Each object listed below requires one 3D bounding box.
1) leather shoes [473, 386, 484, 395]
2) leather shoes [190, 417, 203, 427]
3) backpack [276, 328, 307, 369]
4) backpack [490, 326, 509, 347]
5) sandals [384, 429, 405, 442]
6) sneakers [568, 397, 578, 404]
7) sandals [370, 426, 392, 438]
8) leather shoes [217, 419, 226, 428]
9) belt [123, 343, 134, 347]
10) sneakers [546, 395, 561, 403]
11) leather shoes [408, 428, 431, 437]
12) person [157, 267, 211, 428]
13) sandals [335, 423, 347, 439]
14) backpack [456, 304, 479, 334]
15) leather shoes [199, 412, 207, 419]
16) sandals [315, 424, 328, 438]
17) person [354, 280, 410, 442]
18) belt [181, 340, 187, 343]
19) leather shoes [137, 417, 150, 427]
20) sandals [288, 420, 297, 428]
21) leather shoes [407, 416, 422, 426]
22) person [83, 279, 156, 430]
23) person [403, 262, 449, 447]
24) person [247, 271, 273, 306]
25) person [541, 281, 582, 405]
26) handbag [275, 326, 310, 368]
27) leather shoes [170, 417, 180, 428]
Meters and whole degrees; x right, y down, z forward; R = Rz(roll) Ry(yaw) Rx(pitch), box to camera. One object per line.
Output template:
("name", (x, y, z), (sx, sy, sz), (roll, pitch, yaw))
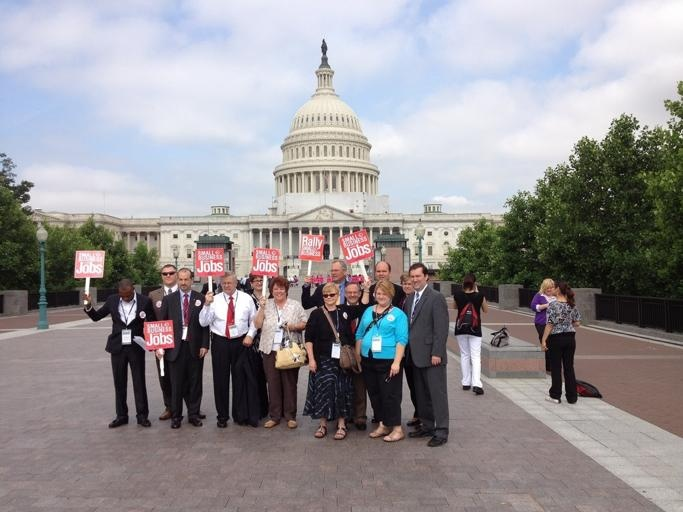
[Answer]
("leather shoes", (2.791, 2.730, 13.788), (0.278, 0.125, 0.097), (6, -6, -44))
("leather shoes", (-2.455, 2.882, 11.783), (0.097, 0.112, 0.256), (3, -9, -30))
("backpack", (-0.834, 1.573, 11.511), (0.534, 0.646, 0.283), (-10, -20, 3))
("backpack", (3.722, 1.855, 15.940), (0.306, 0.365, 0.929), (2, 8, 25))
("sandals", (0.868, 2.892, 10.911), (0.370, 0.237, 0.136), (3, -9, -14))
("sneakers", (4.362, 2.723, 12.882), (0.141, 0.105, 0.143), (-1, -1, 42))
("sandals", (0.656, 2.883, 11.100), (0.293, 0.216, 0.141), (9, -9, -12))
("leather shoes", (-2.009, 2.876, 11.702), (0.167, 0.128, 0.223), (0, -1, -5))
("belt", (-3.636, 1.533, 11.757), (0.139, 0.064, 0.067), (0, -1, -5))
("sneakers", (4.068, 2.783, 13.109), (0.097, 0.107, 0.244), (-3, 15, -32))
("leather shoes", (1.295, 2.911, 11.168), (0.358, 0.155, 0.149), (5, -9, -11))
("person", (-2.678, 1.588, 11.859), (0.822, 2.698, 0.522), (0, 0, -14))
("sandals", (0.011, 2.846, 11.135), (0.206, 0.226, 0.414), (0, -1, 1))
("backpack", (2.599, 1.288, 13.936), (0.534, 0.743, 0.398), (4, 3, 23))
("leather shoes", (-2.452, 2.878, 12.262), (0.200, 0.089, 0.293), (1, -2, -11))
("sandals", (-0.310, 2.867, 11.223), (0.218, 0.180, 0.432), (0, -1, 0))
("person", (0.656, 1.702, 11.019), (0.818, 2.530, 0.379), (0, -1, 32))
("belt", (-2.675, 1.477, 11.793), (0.071, 0.047, 0.016), (-2, -9, -5))
("leather shoes", (-3.324, 2.874, 11.701), (0.103, 0.115, 0.261), (5, -10, -33))
("sandals", (-0.800, 2.876, 11.679), (0.171, 0.122, 0.234), (0, -1, -7))
("leather shoes", (1.274, 2.871, 11.794), (0.116, 0.151, 0.354), (0, -14, 3))
("person", (-3.748, 1.663, 11.907), (0.909, 2.527, 1.108), (0, -1, -42))
("person", (1.436, 1.555, 11.033), (0.563, 2.839, 0.874), (0, 0, -22))
("person", (-1.662, 0.678, 14.536), (0.702, 1.029, 0.355), (1, -2, -10))
("person", (4.209, 1.654, 13.103), (0.616, 2.288, 0.551), (0, 0, 19))
("handbag", (-0.817, 1.547, 11.500), (0.541, 0.737, 0.309), (-8, -19, 5))
("leather shoes", (-2.795, 2.854, 11.620), (0.185, 0.159, 0.124), (0, -1, 10))
